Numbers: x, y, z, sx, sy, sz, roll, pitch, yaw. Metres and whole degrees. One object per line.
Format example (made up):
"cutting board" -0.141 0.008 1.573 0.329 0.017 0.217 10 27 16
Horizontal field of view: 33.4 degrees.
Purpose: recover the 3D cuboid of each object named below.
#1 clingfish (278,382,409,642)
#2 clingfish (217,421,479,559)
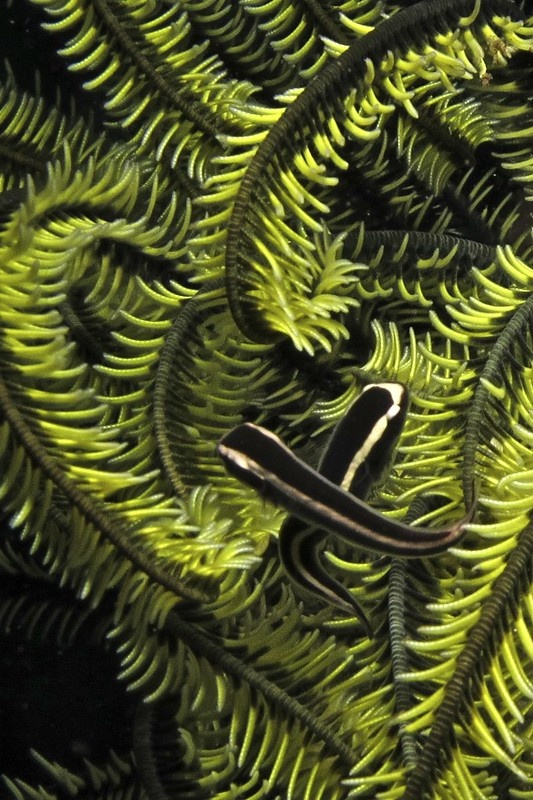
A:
"clingfish" 0.075 0.083 0.724 0.099 0.045 0.186 30 90 16
"clingfish" 0.058 0.086 0.695 0.204 0.111 0.068 13 65 5
